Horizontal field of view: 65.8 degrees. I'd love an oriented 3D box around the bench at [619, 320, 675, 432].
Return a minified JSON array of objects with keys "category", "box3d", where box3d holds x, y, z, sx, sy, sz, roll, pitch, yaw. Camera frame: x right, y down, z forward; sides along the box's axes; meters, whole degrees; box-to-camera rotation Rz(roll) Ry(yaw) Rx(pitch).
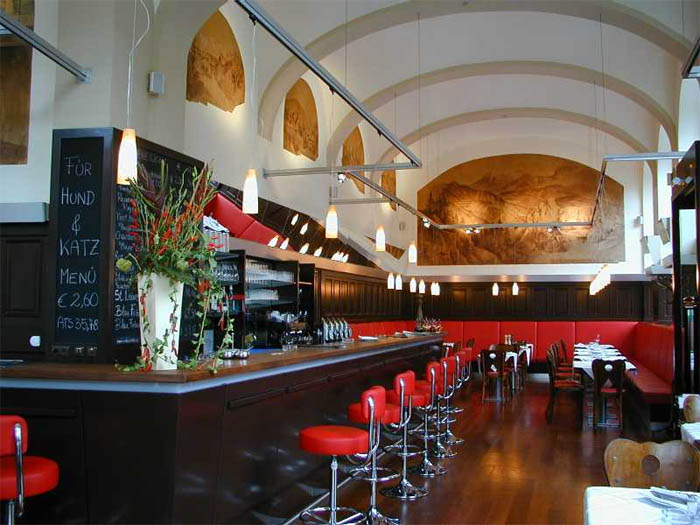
[{"category":"bench","box3d":[6.302,2.271,11.502,0.910,1.663,4.262,-9,-6,20]}]
